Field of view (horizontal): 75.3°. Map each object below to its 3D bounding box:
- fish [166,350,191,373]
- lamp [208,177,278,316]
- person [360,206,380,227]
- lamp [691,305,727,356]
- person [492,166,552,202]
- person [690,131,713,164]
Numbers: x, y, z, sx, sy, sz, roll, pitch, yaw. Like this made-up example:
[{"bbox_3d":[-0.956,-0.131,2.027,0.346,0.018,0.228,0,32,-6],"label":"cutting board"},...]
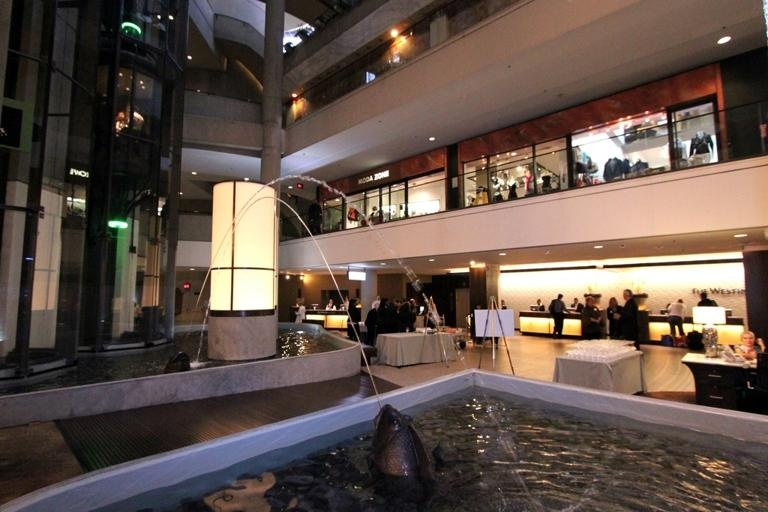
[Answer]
[{"bbox_3d":[-3.821,2.012,9.236,0.444,0.294,0.486,-10,17,-31],"label":"fish"},{"bbox_3d":[-2.966,-0.186,10.439,1.409,2.668,1.048,-6,15,-19],"label":"lamp"},{"bbox_3d":[-0.426,-1.331,16.496,0.714,0.456,0.505,-6,-3,40],"label":"person"},{"bbox_3d":[6.068,1.430,9.299,0.444,0.772,0.462,2,-19,19],"label":"lamp"},{"bbox_3d":[3.554,-1.871,12.933,0.994,0.623,0.976,-4,4,-37],"label":"person"},{"bbox_3d":[6.804,-2.253,10.658,0.383,0.959,0.300,-3,34,40],"label":"person"}]
